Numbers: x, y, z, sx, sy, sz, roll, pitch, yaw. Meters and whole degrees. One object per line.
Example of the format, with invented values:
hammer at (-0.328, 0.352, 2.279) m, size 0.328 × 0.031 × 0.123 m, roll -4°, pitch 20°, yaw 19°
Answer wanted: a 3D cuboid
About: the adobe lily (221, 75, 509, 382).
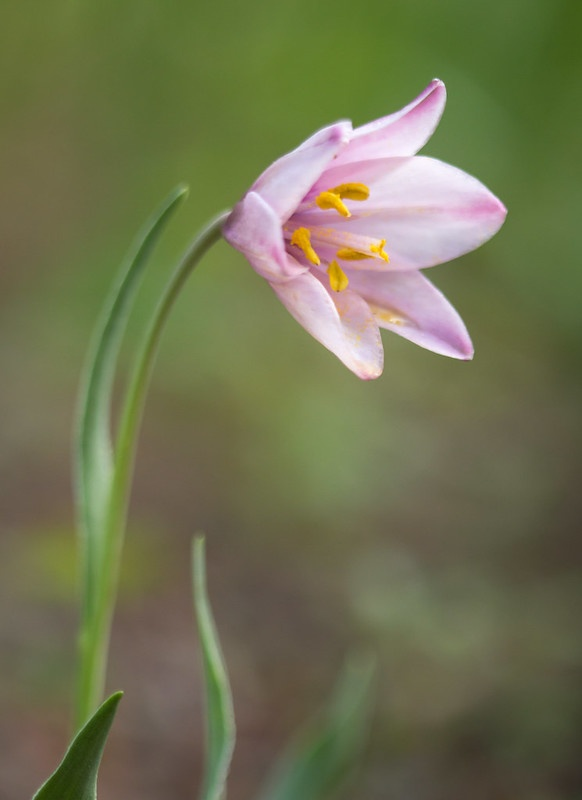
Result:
adobe lily at (0.023, -0.139, 0.702) m, size 0.262 × 0.188 × 0.185 m, roll 27°, pitch -42°, yaw 23°
